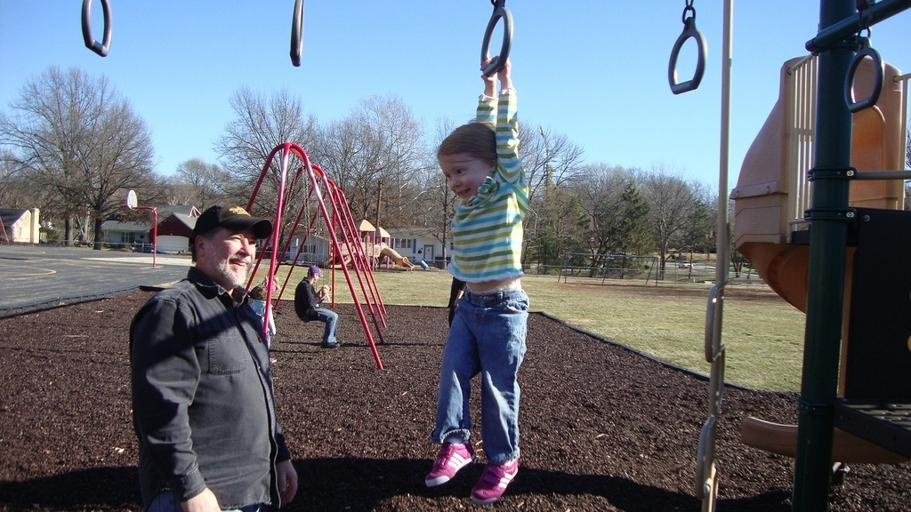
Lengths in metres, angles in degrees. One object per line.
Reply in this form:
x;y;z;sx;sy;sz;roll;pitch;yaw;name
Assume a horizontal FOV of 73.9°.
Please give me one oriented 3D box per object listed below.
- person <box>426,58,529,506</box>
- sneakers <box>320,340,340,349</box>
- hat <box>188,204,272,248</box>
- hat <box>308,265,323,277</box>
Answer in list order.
0.163;0.120;4.210;0.650;3.083;0.581;0;2;7;person
-1.516;1.054;7.188;0.262;0.123;0.091;0;-1;21;sneakers
-1.398;-0.163;3.768;0.414;0.214;0.275;-2;-3;-3;hat
-1.858;0.213;8.120;0.183;0.150;0.252;0;9;32;hat
